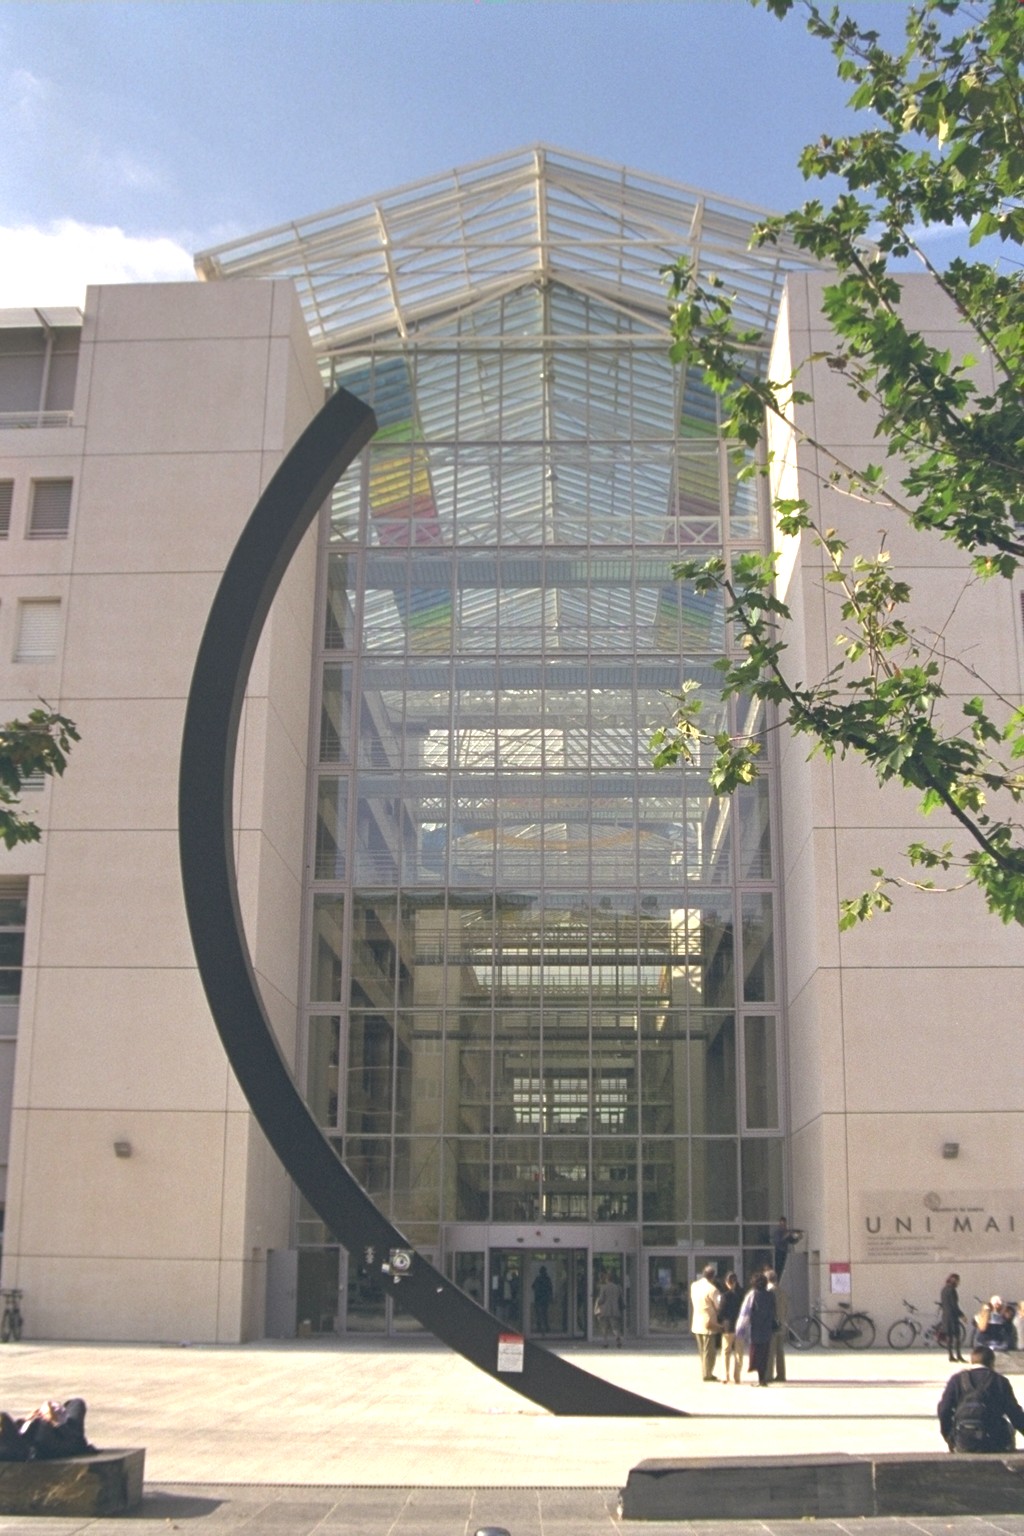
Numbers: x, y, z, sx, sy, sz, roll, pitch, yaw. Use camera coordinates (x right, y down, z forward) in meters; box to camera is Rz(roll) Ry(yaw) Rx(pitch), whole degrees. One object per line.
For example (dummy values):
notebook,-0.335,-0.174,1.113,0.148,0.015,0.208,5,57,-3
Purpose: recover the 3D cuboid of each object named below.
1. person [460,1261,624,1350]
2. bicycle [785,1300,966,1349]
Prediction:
person,0.536,8.801,28.648,2.715,1.447,0.548,-1,-14,6
bicycle,5.156,8.239,25.388,2.438,0.688,0.769,-7,-16,28
